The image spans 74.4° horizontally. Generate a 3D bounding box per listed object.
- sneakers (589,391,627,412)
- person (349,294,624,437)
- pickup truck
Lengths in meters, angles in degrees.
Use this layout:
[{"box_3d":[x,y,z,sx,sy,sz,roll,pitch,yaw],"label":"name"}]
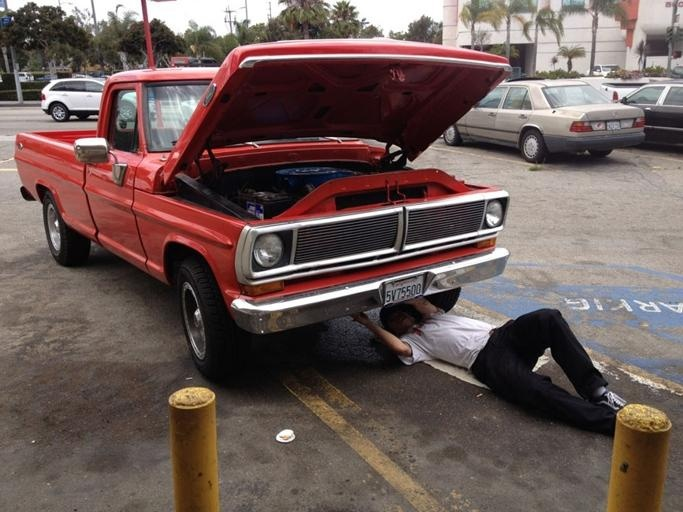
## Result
[{"box_3d":[1.818,0.965,3.043,0.196,0.108,0.145,-6,19,-28],"label":"sneakers"},{"box_3d":[1.082,0.744,3.526,2.104,0.618,0.608,10,26,40],"label":"person"},{"box_3d":[-1.227,-0.640,4.752,2.755,1.805,4.545,-15,25,-38],"label":"pickup truck"}]
